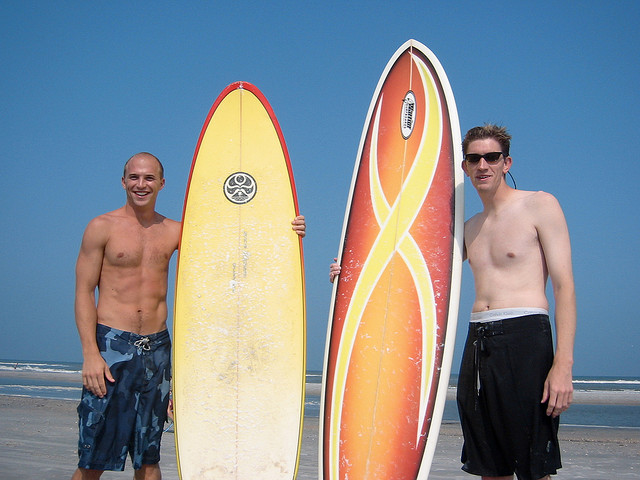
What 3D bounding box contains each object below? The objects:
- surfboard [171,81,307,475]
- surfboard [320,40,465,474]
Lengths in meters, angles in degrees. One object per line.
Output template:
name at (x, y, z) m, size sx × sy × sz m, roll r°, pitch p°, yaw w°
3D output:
surfboard at (-0.700, 0.541, 9.232) m, size 0.974 × 4.363 × 0.482 m, roll 0°, pitch -9°, yaw -2°
surfboard at (0.688, 0.340, 8.830) m, size 0.958 × 4.489 × 0.448 m, roll 2°, pitch -9°, yaw 22°
